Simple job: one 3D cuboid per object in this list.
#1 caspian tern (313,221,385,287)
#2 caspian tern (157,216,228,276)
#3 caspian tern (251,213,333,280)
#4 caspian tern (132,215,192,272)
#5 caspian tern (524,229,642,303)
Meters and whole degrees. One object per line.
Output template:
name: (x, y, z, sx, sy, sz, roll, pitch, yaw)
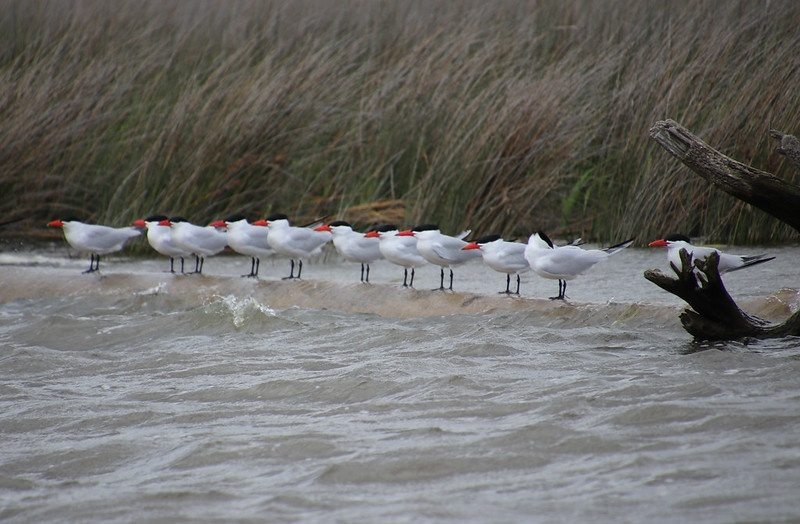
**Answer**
caspian tern: (-0.526, -0.124, 15.668, 0.532, 0.761, 1.377, -8, -3, 39)
caspian tern: (-2.696, -0.235, 15.644, 1.091, 0.670, 0.427, -5, 1, -40)
caspian tern: (-1.454, -0.229, 15.742, 1.145, 0.782, 0.567, -4, 1, -40)
caspian tern: (-3.011, -0.224, 15.744, 1.147, 0.656, 0.438, 8, -10, -35)
caspian tern: (2.110, -0.005, 14.261, 1.571, 0.748, 0.446, -4, 8, -26)
